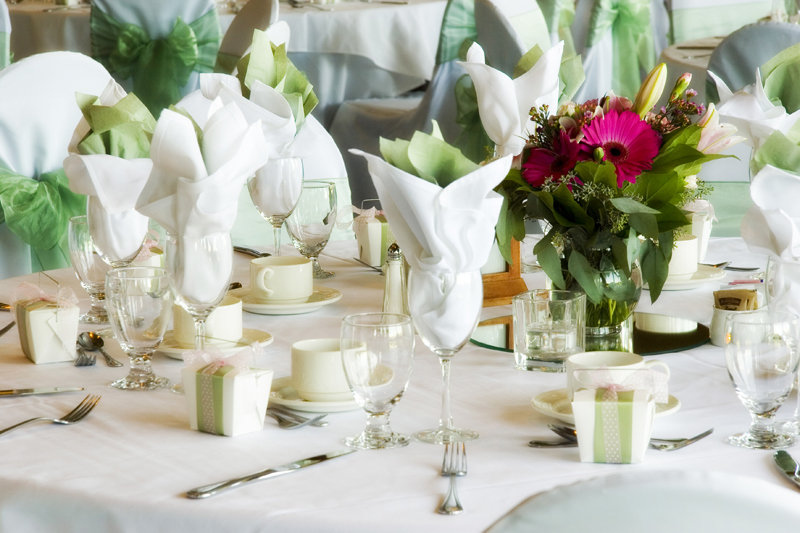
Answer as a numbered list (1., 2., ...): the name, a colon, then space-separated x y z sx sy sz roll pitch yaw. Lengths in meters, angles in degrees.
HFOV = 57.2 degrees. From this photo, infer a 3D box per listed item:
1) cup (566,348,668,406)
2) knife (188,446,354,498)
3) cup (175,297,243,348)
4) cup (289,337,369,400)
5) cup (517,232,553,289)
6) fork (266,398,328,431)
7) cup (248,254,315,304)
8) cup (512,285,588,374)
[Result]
1. cup: 0.369 0.174 1.220 0.139 0.061 0.088 1 -1 -28
2. knife: -0.187 0.303 1.078 0.172 0.008 0.023 -7 18 -36
3. cup: -0.391 0.113 1.555 0.115 0.075 0.119 0 0 0
4. cup: -0.142 0.163 1.264 0.104 0.082 0.102 -1 -1 0
5. cup: 0.377 -0.017 2.103 0.135 0.162 0.157 -1 -5 -1
6. fork: -0.178 0.245 1.249 0.034 0.037 0.235 -17 8 -23
7. cup: -0.288 0.026 1.783 0.099 0.087 0.139 3 6 29
8. cup: 0.289 0.120 1.428 0.137 0.165 0.154 0 0 17
